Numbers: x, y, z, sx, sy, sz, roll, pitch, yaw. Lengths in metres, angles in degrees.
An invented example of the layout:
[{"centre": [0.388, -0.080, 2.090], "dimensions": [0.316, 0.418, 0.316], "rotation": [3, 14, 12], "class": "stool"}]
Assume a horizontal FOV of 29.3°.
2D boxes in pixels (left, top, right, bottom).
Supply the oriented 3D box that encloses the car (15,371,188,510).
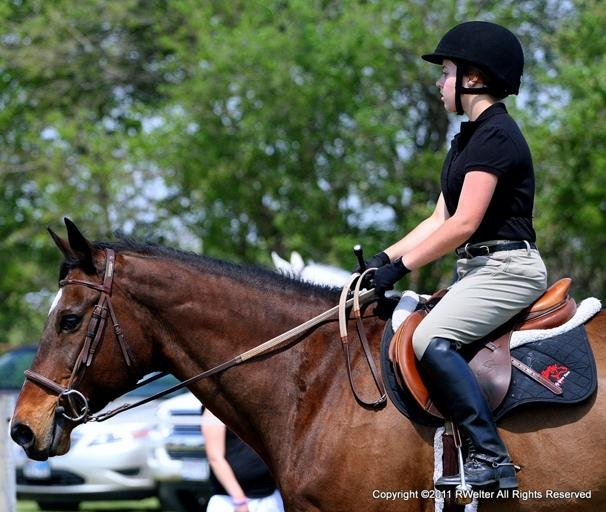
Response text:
[{"centre": [-1.855, 2.158, 12.810], "dimensions": [2.398, 1.186, 0.902], "rotation": [3, 80, -18], "class": "car"}]
